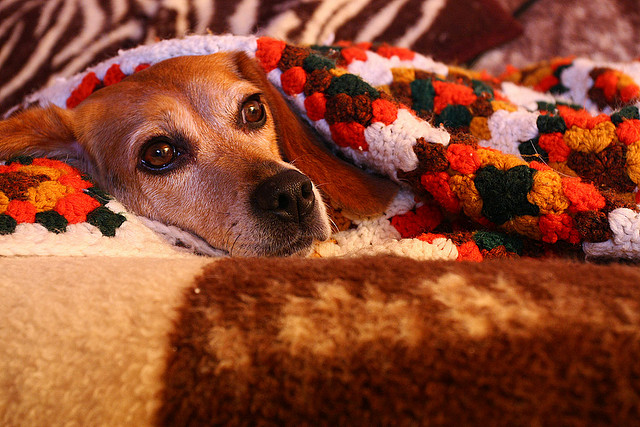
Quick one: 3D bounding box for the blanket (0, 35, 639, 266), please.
[{"bbox_3d":[0.115,-0.132,1.755,1.145,0.304,0.928,-2,35,9],"label":"blanket"}]
